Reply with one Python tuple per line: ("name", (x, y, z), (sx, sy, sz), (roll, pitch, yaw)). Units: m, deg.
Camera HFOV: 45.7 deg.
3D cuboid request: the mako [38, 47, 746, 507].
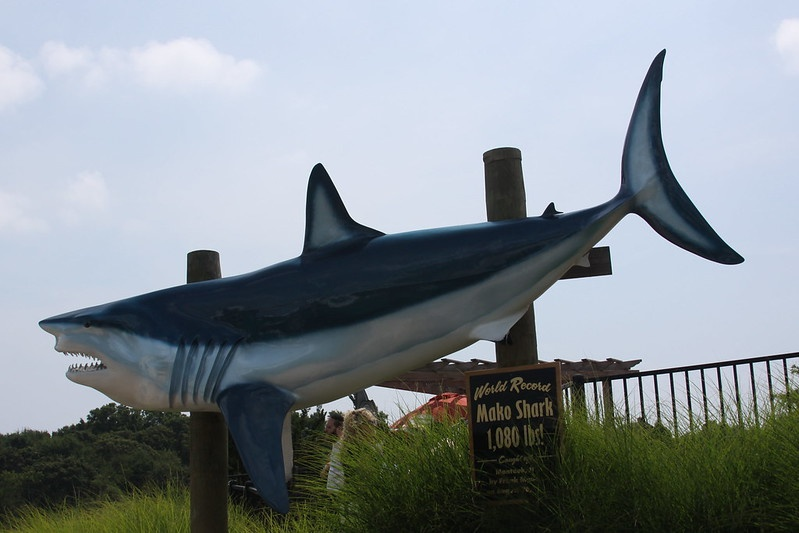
("mako", (-0.123, 0.218, 10.159), (6.954, 3.636, 2.991), (-7, 0, -2))
